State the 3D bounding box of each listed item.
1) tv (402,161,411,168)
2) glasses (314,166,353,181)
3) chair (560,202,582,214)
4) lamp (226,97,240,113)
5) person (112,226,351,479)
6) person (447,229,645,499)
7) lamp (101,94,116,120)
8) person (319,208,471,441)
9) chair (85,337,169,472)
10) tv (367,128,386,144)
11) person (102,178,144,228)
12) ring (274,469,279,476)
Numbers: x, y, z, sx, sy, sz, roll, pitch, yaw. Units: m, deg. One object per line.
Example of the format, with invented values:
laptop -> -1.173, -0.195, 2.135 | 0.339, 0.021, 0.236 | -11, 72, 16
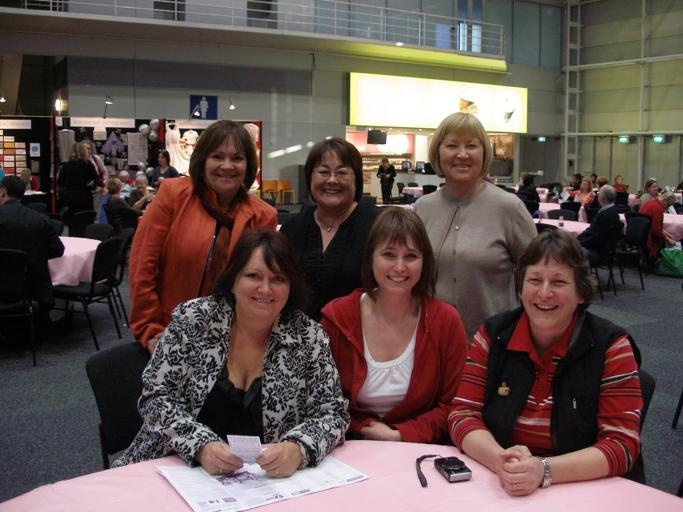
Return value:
tv -> 2.499, -3.481, 18.579 | 0.346, 0.363, 0.367 | -2, 6, -1
glasses -> -0.036, -0.409, 2.421 | 0.187, 0.063, 0.057 | 1, 11, -3
chair -> 4.691, -0.987, 9.961 | 0.263, 0.355, 0.295 | 5, 11, 25
lamp -> -3.259, -4.564, 14.739 | 0.322, 0.381, 0.341 | -1, 3, 5
person -> -0.686, 0.220, 2.403 | 0.674, 1.667, 0.547 | 4, 15, -28
person -> 0.703, 0.377, 1.704 | 0.587, 0.908, 0.755 | -2, 4, 6
lamp -> -6.330, -4.066, 13.244 | 0.315, 0.578, 0.141 | -9, 15, -41
person -> 0.221, 0.300, 2.023 | 0.558, 0.948, 0.512 | 1, -4, 23
chair -> -0.896, 0.583, 2.163 | 0.346, 0.708, 0.427 | -3, 3, -35
tv -> 1.202, -4.264, 16.732 | 0.772, 0.579, 0.438 | 0, 9, -3
person -> -3.491, -0.700, 7.813 | 0.416, 1.093, 0.557 | 29, 33, 36
ring -> -0.197, 0.652, 1.484 | 0.015, 0.016, 0.006 | -1, -3, 0
